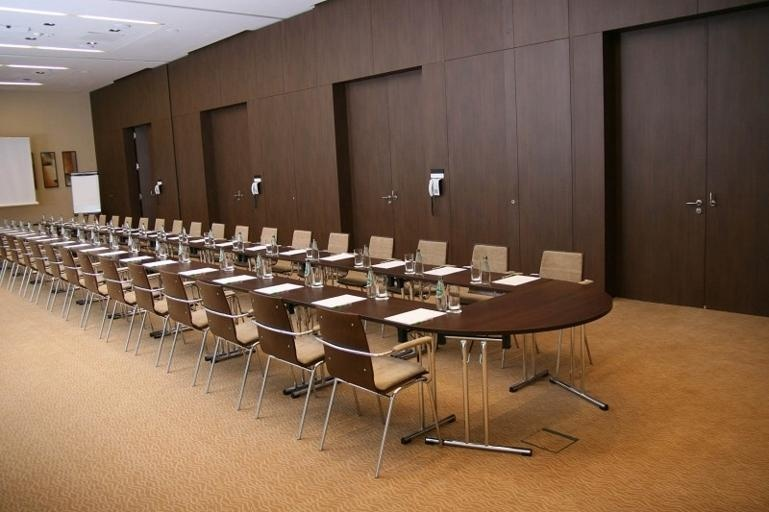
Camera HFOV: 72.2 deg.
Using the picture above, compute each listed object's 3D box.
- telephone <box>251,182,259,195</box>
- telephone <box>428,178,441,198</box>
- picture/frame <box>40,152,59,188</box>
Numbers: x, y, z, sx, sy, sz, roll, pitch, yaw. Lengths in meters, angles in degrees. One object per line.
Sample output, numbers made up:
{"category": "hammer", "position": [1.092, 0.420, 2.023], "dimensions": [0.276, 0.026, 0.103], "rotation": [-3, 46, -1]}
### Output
{"category": "telephone", "position": [-3.305, -1.730, 13.450], "dimensions": [0.315, 0.327, 0.175], "rotation": [3, 3, 44]}
{"category": "telephone", "position": [0.929, -1.273, 9.875], "dimensions": [0.187, 0.361, 0.343], "rotation": [-2, 4, -41]}
{"category": "picture/frame", "position": [-11.835, -3.045, 18.658], "dimensions": [0.063, 1.108, 0.508], "rotation": [-2, 5, 36]}
